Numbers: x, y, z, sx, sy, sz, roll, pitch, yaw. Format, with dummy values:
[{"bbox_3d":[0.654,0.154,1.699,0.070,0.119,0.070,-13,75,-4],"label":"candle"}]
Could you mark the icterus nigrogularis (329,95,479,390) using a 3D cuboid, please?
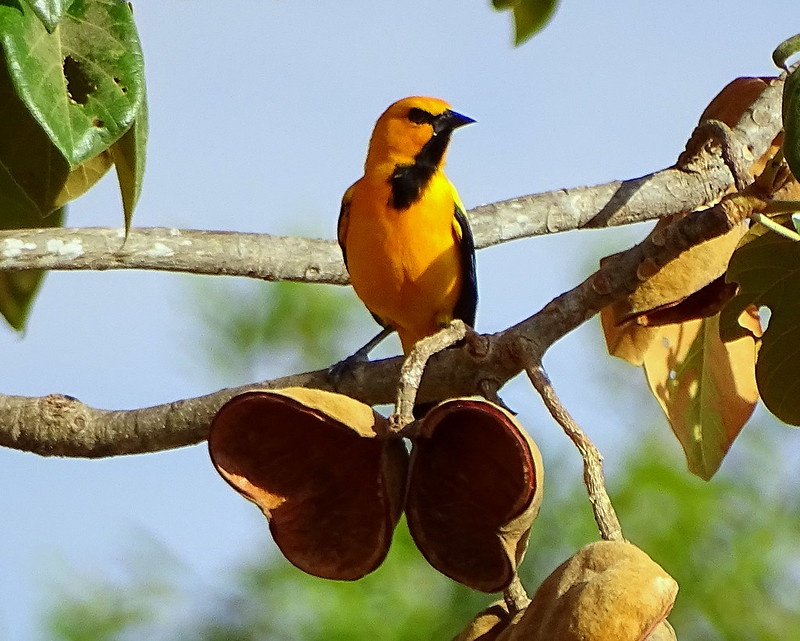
[{"bbox_3d":[0.065,-0.363,5.552,0.537,0.759,0.560,-11,-39,4],"label":"icterus nigrogularis"}]
